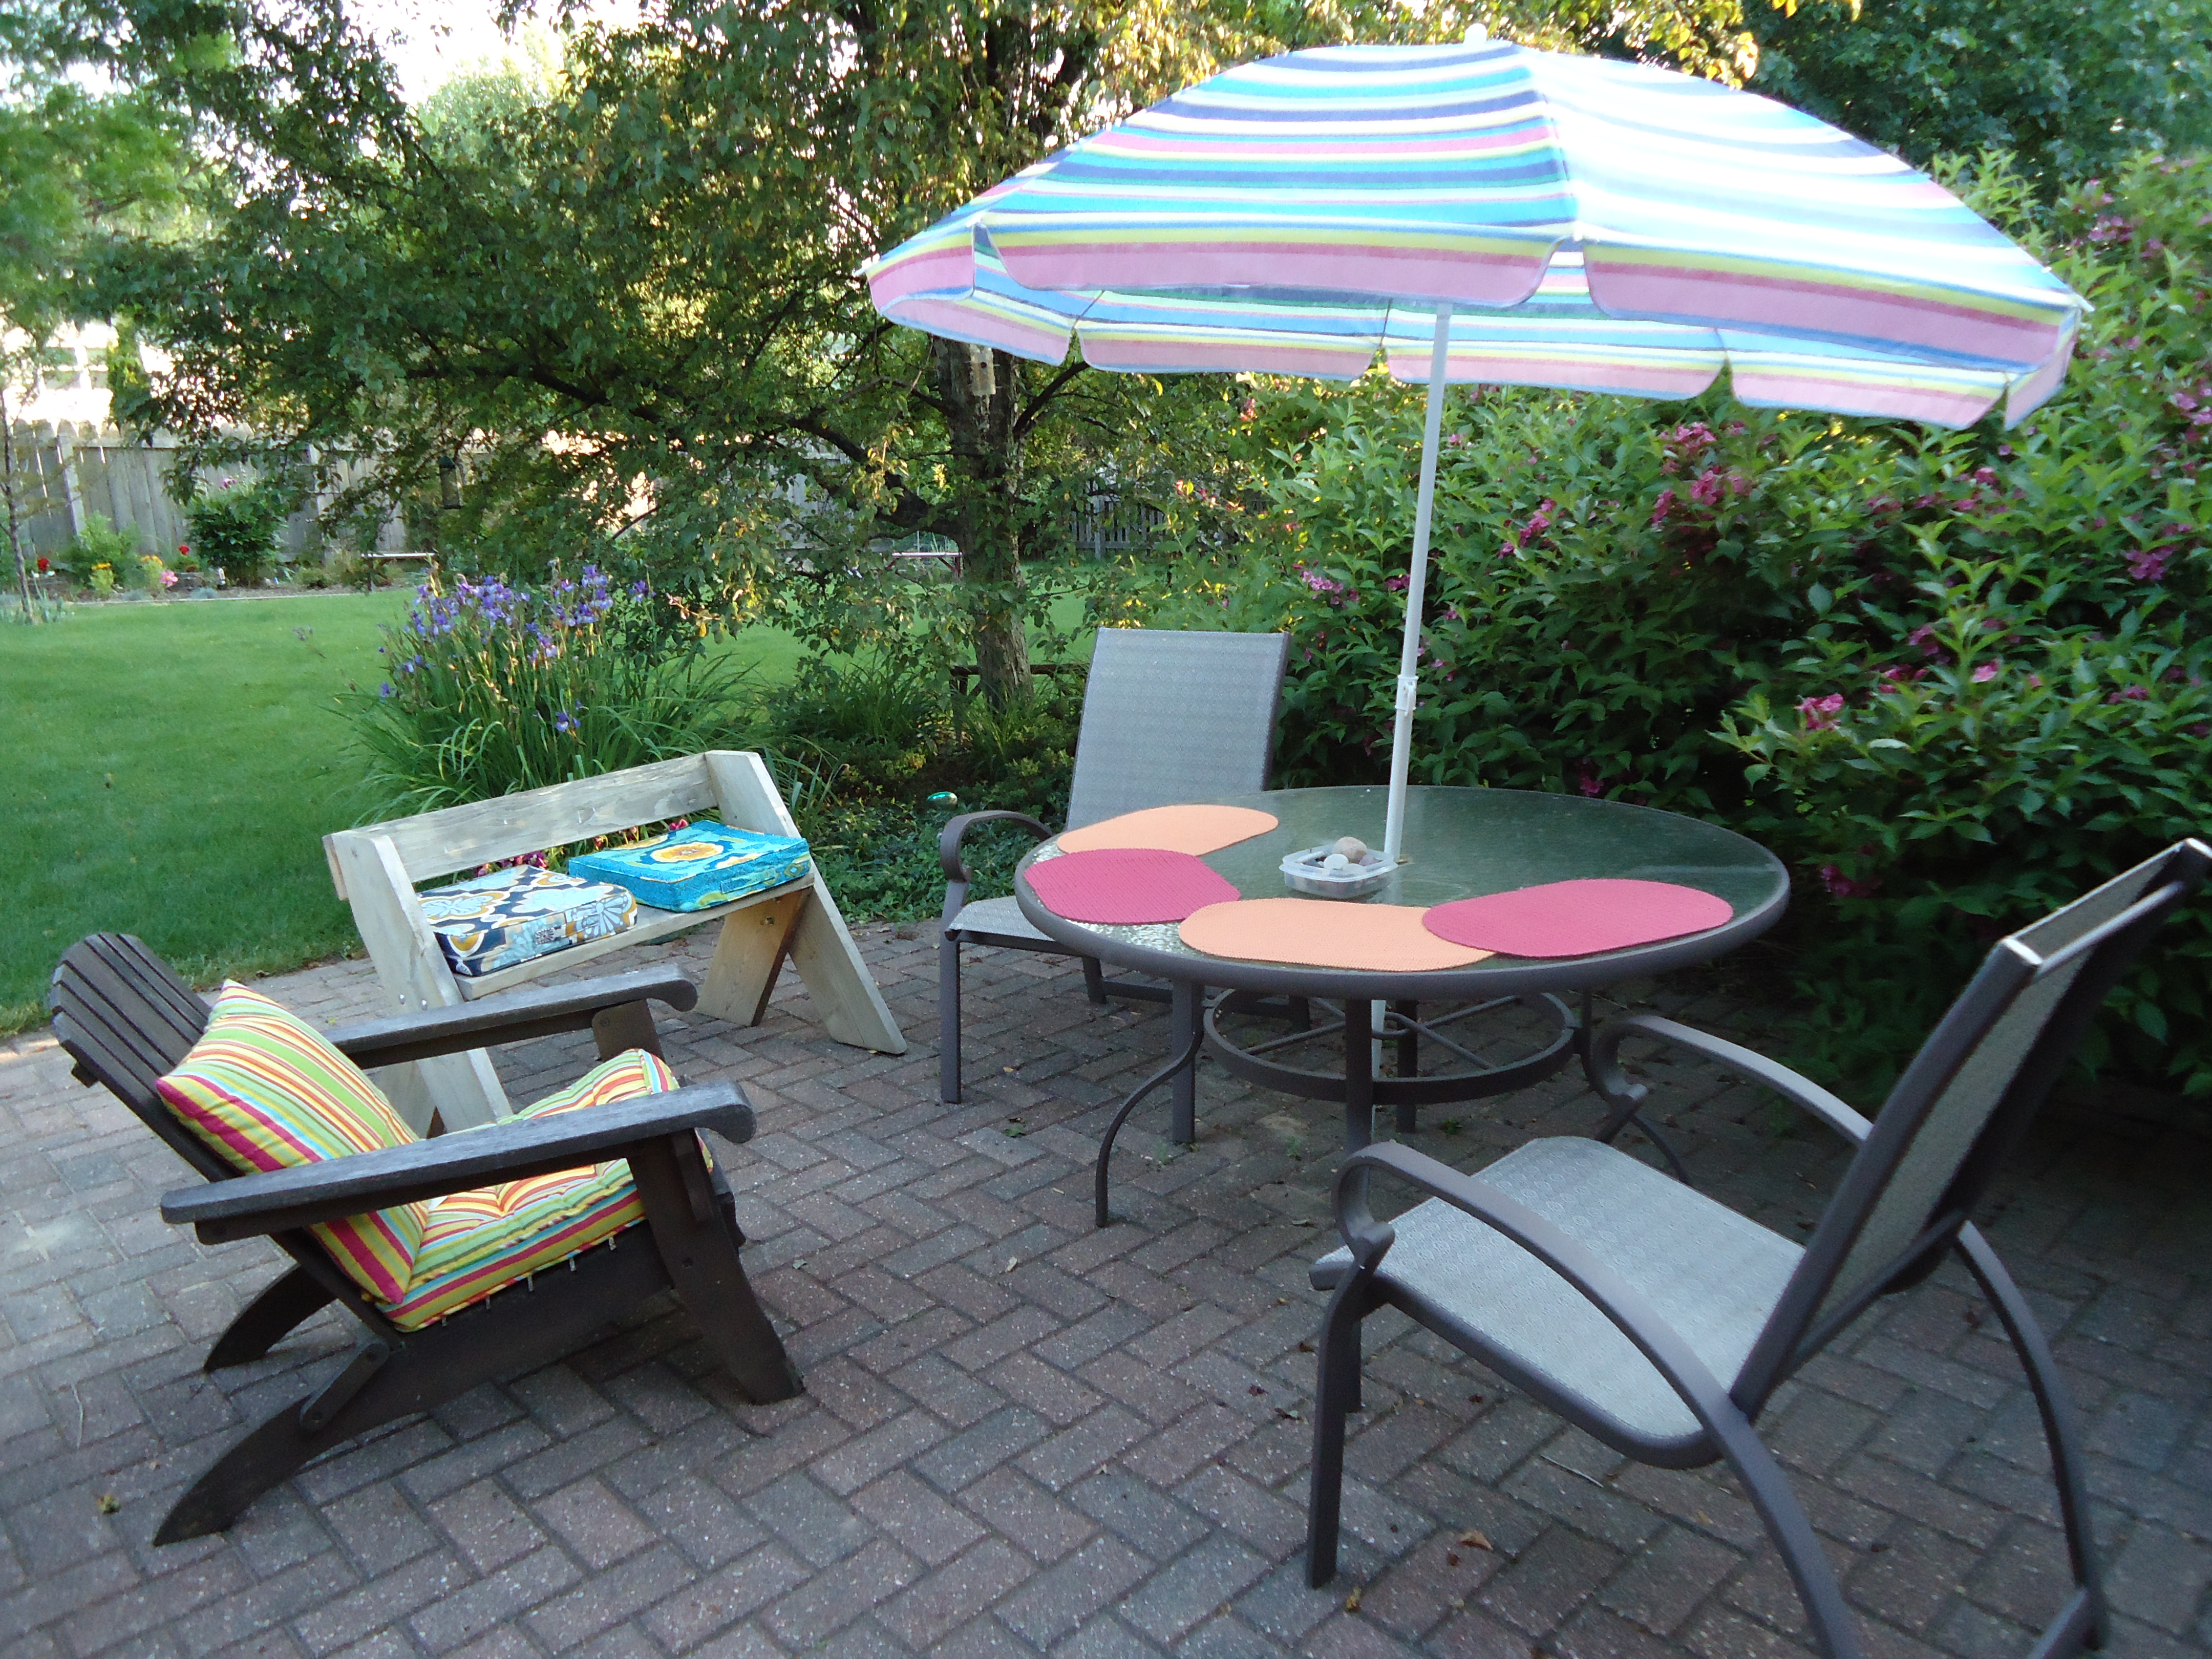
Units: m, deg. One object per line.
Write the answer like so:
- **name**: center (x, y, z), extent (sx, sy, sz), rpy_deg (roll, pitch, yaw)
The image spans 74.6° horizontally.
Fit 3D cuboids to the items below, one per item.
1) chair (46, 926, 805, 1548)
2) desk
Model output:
- **chair**: center (-1.458, 0.742, 3.676), extent (1.962, 1.085, 1.337), rpy_deg (-7, 19, -18)
- **desk**: center (0.699, 0.701, 3.911), extent (1.900, 0.697, 1.613), rpy_deg (1, -6, -1)
